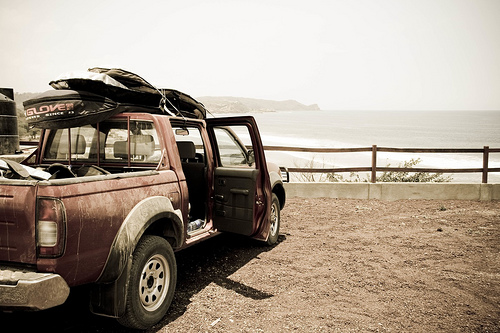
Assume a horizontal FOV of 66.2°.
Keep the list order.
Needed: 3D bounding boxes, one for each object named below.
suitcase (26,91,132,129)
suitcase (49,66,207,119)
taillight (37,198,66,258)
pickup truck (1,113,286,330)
[{"bbox_3d":[-2.577,-0.880,5.689,1.380,0.526,1.031,-15,12,-41],"label":"suitcase"},{"bbox_3d":[-1.956,-0.974,5.367,1.283,0.347,1.666,17,2,40],"label":"suitcase"},{"bbox_3d":[-2.112,0.646,4.058,0.282,0.619,0.107,0,10,-1],"label":"taillight"},{"bbox_3d":[-1.545,0.646,5.540,2.726,1.594,3.719,2,10,33],"label":"pickup truck"}]
